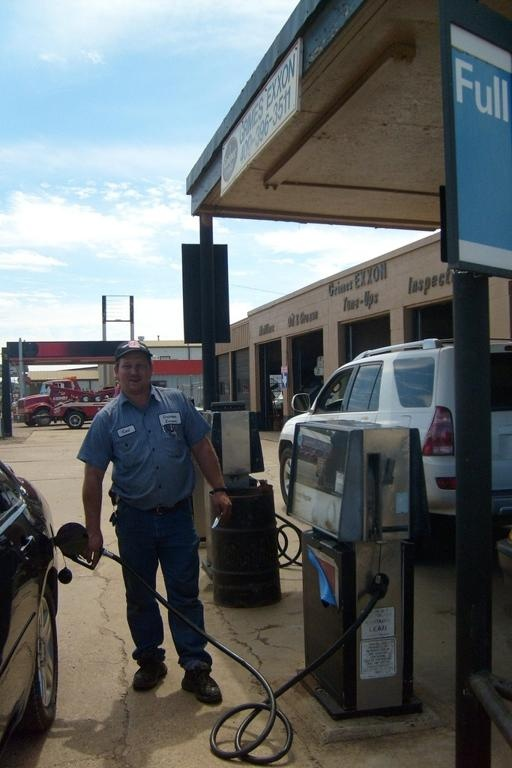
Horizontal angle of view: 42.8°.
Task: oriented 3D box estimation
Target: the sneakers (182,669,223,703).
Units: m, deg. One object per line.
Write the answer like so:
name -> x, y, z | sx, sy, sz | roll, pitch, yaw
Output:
sneakers -> -0.267, 1.461, 3.198 | 0.089, 0.113, 0.237 | 1, -6, -33

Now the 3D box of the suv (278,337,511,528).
suv -> 1.371, 0.300, 6.507 | 1.455, 1.348, 2.647 | 0, 3, -24

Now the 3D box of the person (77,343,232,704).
person -> -0.520, 0.659, 3.360 | 0.780, 1.793, 0.539 | 0, -1, -8

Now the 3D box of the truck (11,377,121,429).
truck -> -8.950, 0.966, 30.088 | 5.379, 2.225, 2.659 | 0, -2, -15
